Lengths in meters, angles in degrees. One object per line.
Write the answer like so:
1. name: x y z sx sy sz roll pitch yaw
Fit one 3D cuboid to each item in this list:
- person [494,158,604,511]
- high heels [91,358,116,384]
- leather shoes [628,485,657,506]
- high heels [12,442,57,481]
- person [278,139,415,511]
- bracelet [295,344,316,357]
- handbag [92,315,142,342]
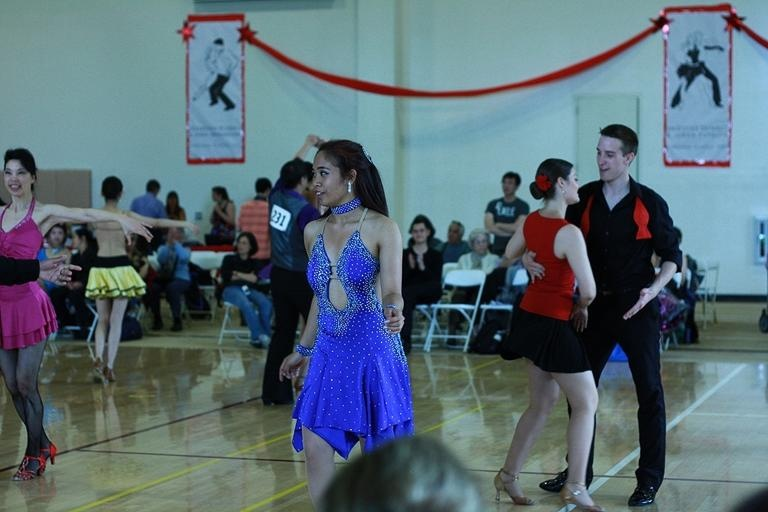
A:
1. person: 0.991 0.487 4.208 0.635 2.142 0.384 1 5 20
2. high heels: -2.946 1.227 7.494 0.163 0.199 0.456 1 -4 5
3. leather shoes: 1.613 1.469 4.330 0.232 0.126 0.089 -2 5 -20
4. high heels: -2.387 1.441 4.912 0.131 0.170 0.331 -5 1 25
5. person: -0.165 0.302 3.574 0.607 1.786 0.450 -1 4 -5
6. bracelet: -0.418 0.511 3.716 0.062 0.043 0.085 15 -12 -2
7. handbag: -3.581 1.013 9.805 0.213 0.342 0.331 21 8 11
